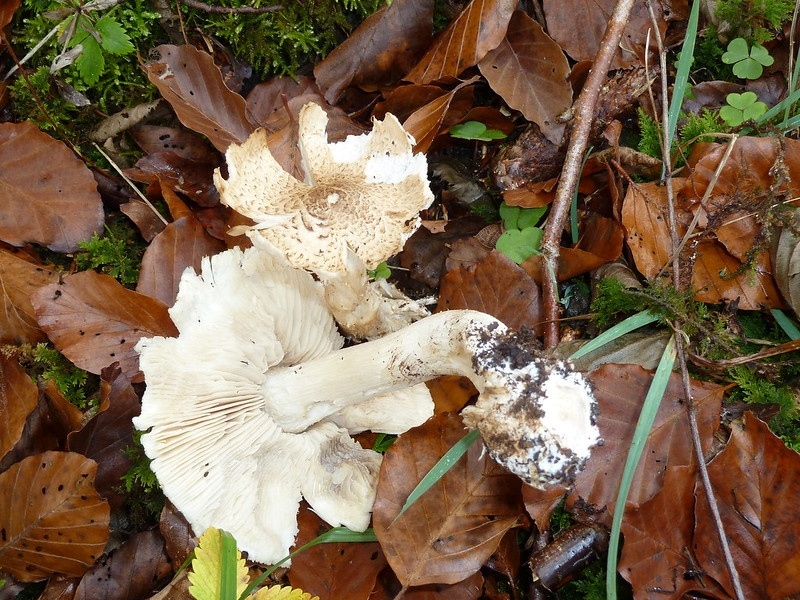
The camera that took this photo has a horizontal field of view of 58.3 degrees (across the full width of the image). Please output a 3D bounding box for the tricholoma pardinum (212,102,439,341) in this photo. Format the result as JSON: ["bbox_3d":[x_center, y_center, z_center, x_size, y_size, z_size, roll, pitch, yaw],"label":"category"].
[{"bbox_3d":[-0.395,-0.240,2.993,0.790,0.886,0.862,17,65,17],"label":"tricholoma pardinum"}]
